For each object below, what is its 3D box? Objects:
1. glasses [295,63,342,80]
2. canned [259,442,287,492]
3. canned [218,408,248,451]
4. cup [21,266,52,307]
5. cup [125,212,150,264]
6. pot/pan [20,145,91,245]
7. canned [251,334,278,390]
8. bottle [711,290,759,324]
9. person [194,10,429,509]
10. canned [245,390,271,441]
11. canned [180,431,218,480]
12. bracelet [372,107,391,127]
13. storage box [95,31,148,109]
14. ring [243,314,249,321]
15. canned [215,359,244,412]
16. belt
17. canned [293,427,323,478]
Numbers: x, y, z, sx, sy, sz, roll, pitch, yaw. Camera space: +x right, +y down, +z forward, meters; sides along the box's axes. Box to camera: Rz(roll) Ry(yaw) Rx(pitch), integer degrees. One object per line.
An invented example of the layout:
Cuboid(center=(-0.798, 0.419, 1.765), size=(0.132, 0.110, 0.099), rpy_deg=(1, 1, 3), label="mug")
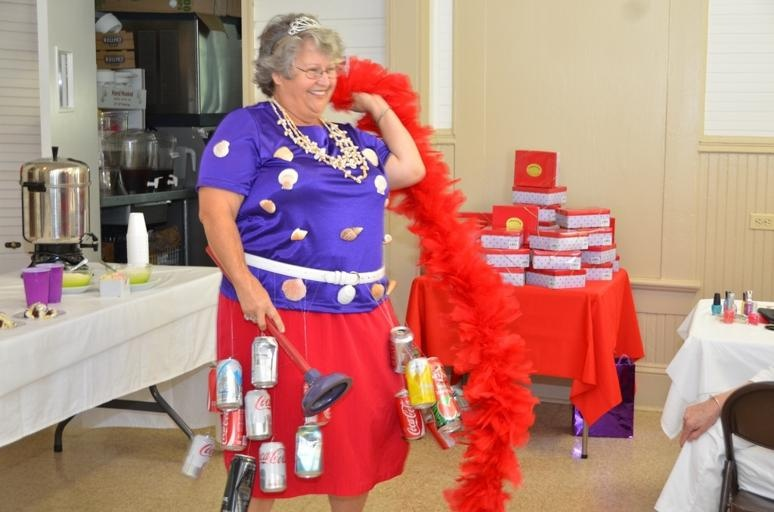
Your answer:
Cuboid(center=(-0.247, -0.675, 2.439), size=(0.174, 0.053, 0.042), rpy_deg=(-9, 14, -28), label="glasses")
Cuboid(center=(-0.411, 0.766, 2.412), size=(0.101, 0.184, 0.113), rpy_deg=(-5, 13, -11), label="canned")
Cuboid(center=(-0.554, 0.619, 2.434), size=(0.091, 0.162, 0.089), rpy_deg=(3, -19, -22), label="canned")
Cuboid(center=(-1.634, 0.149, 3.146), size=(0.113, 0.163, 0.281), rpy_deg=(-7, 14, -19), label="cup")
Cuboid(center=(-1.336, -0.092, 3.588), size=(0.113, 0.258, 0.332), rpy_deg=(-7, 14, -21), label="cup")
Cuboid(center=(-1.842, -0.342, 3.743), size=(0.422, 0.553, 0.418), rpy_deg=(-3, 12, -30), label="pot/pan")
Cuboid(center=(-0.435, 0.380, 2.407), size=(0.096, 0.171, 0.093), rpy_deg=(7, -12, -35), label="canned")
Cuboid(center=(1.827, 0.286, 3.532), size=(0.207, 0.147, 0.163), rpy_deg=(0, -3, 1), label="bottle")
Cuboid(center=(-0.235, 0.193, 2.551), size=(0.847, 1.539, 0.476), rpy_deg=(-6, 13, -16), label="person")
Cuboid(center=(-0.459, 0.589, 2.406), size=(0.090, 0.221, 0.099), rpy_deg=(-4, 12, -7), label="canned")
Cuboid(center=(-0.721, 0.759, 2.572), size=(0.092, 0.193, 0.094), rpy_deg=(13, -23, 2), label="canned")
Cuboid(center=(-0.023, -0.570, 2.693), size=(0.054, 0.056, 0.049), rpy_deg=(-4, 7, -43), label="bracelet")
Cuboid(center=(-2.440, -1.731, 6.148), size=(0.397, 0.752, 0.690), rpy_deg=(-6, 13, -18), label="storage box")
Cuboid(center=(-0.513, 0.225, 2.439), size=(0.021, 0.016, 0.021), rpy_deg=(3, -4, 0), label="ring")
Cuboid(center=(-0.565, 0.467, 2.415), size=(0.104, 0.185, 0.100), rpy_deg=(11, -29, -36), label="canned")
Cuboid(center=(-0.260, 0.049, 2.489), size=(0.508, 0.146, 0.101), rpy_deg=(-5, 13, -10), label="belt")
Cuboid(center=(-0.278, 0.665, 2.390), size=(0.110, 0.187, 0.112), rpy_deg=(5, 16, 3), label="canned")
